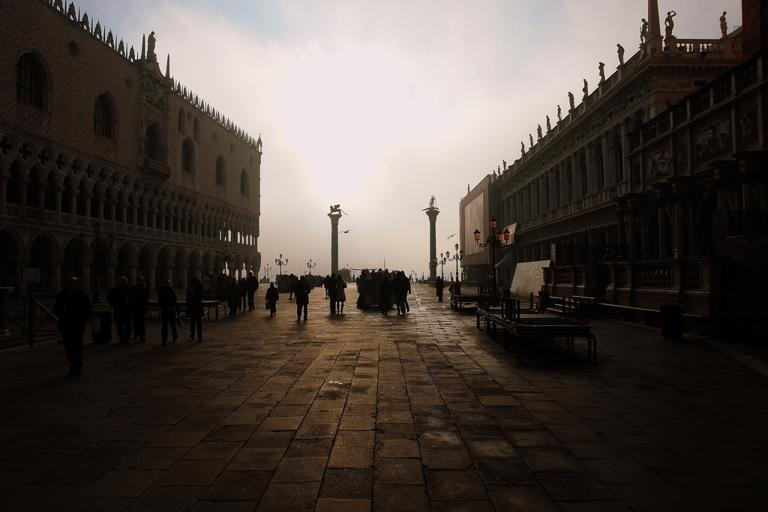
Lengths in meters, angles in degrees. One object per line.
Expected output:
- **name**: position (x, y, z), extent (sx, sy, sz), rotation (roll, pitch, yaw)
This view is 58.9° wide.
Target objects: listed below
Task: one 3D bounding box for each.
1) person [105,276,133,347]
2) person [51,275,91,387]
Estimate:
- **person**: position (-9.415, 1.935, 24.351), extent (1.108, 2.370, 0.805), rotation (-4, -4, 41)
- **person**: position (-9.135, 2.062, 19.892), extent (0.890, 2.854, 1.000), rotation (0, -3, -29)
